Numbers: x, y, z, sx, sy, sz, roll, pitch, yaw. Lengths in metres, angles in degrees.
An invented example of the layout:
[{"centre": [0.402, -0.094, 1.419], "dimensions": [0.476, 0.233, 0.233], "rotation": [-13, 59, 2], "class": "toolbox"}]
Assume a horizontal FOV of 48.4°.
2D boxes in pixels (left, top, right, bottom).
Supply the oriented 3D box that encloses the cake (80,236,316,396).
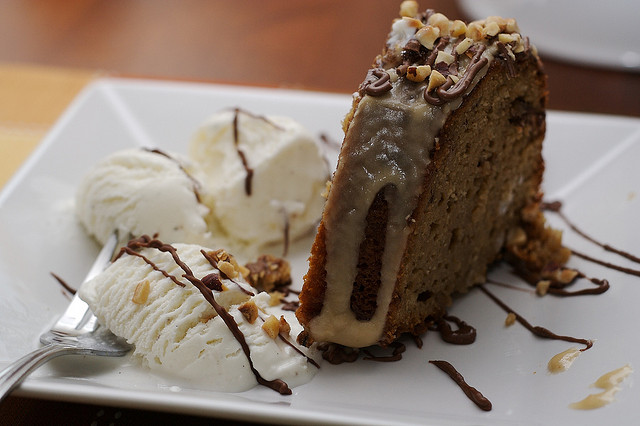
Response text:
[{"centre": [-0.432, 0.374, 2.523], "dimensions": [0.733, 0.280, 0.478], "rotation": [32, 35, 18], "class": "cake"}]
